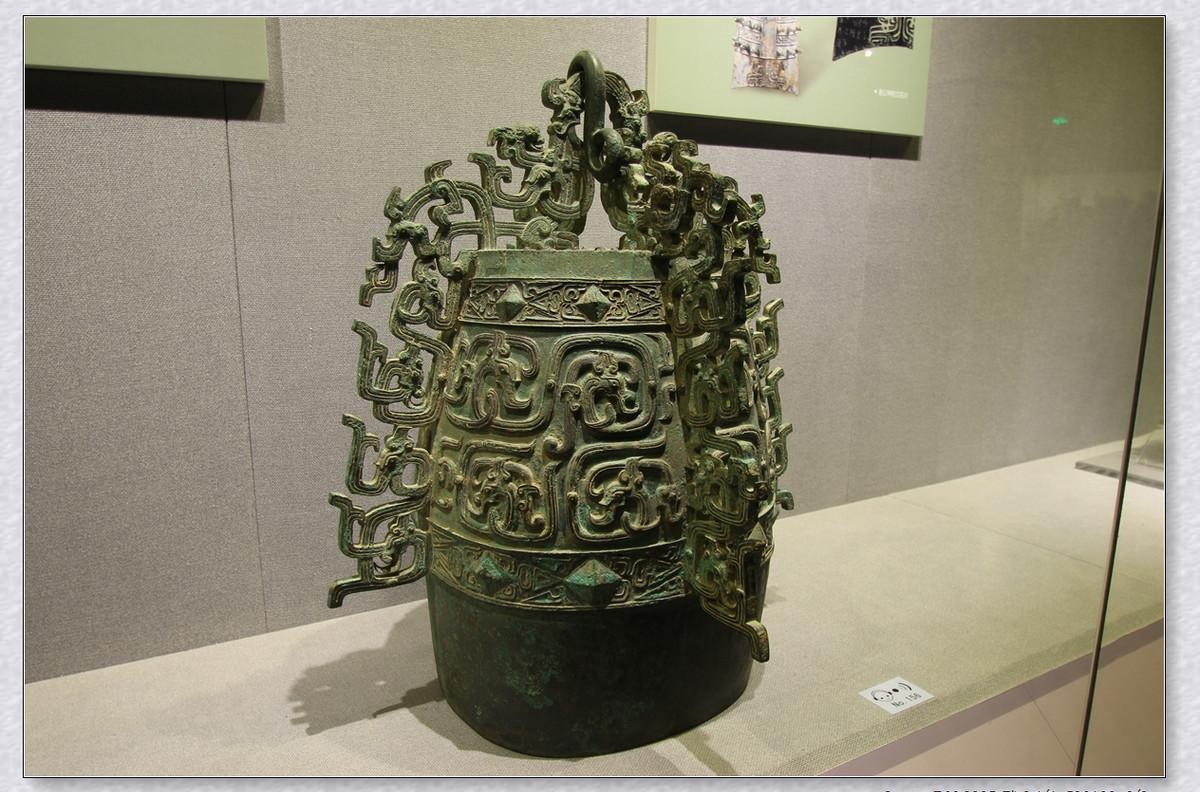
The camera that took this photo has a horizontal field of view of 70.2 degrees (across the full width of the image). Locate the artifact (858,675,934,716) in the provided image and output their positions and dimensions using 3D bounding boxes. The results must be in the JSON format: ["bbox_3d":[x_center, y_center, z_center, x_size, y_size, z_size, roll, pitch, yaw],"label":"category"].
[{"bbox_3d":[1.235,1.251,3.574,0.226,0.048,0.183,-5,12,-24],"label":"artifact"}]

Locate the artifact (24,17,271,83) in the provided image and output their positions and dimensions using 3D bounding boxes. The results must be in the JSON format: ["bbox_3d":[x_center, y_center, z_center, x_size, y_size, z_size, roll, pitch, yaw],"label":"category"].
[{"bbox_3d":[-1.799,-1.350,3.311,0.485,0.121,0.527,0,2,19],"label":"artifact"}]
